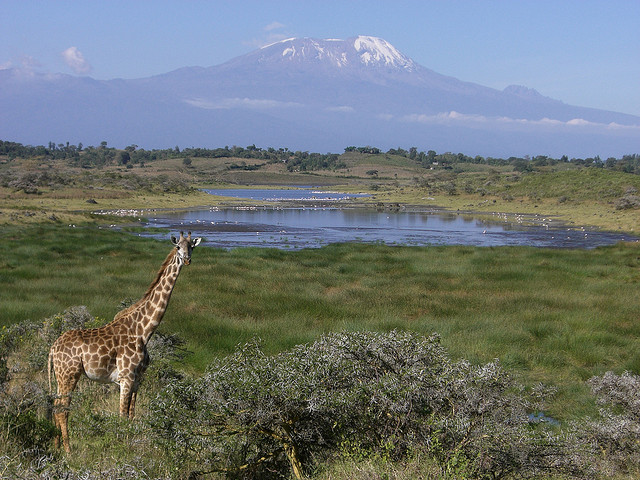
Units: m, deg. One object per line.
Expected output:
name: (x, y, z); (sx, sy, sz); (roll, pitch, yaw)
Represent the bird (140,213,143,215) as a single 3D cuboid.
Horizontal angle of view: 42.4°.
bird: (-19.630, -2.916, 90.276); (0.219, 0.241, 0.416); (-1, -17, -6)
